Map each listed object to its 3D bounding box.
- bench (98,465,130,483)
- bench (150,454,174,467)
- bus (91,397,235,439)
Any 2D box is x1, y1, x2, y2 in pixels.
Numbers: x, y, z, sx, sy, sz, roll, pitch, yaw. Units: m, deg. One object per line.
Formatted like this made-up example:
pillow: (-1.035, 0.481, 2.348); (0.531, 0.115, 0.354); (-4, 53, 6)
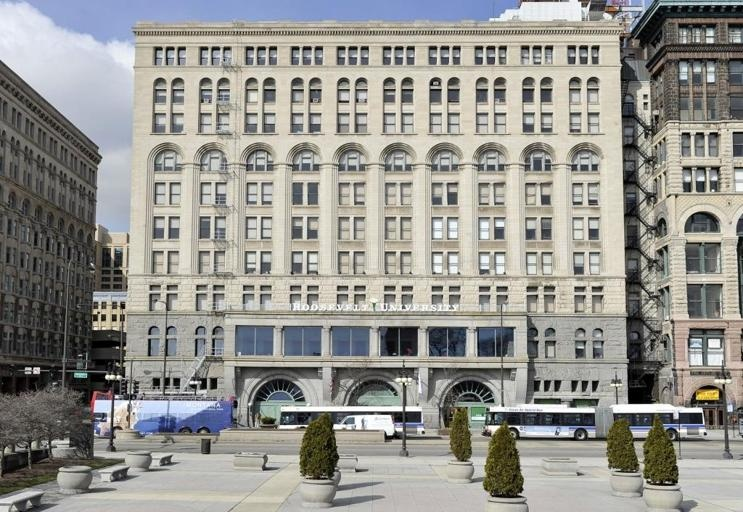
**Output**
bench: (-22.732, 19.423, 113.389); (2.004, 1.519, 2.686); (-4, -12, 7)
bench: (-19.493, 19.217, 119.733); (1.940, 1.237, 2.713); (-1, -12, -9)
bus: (-23.024, 17.879, 145.898); (19.485, 4.603, 5.238); (2, -11, 0)
